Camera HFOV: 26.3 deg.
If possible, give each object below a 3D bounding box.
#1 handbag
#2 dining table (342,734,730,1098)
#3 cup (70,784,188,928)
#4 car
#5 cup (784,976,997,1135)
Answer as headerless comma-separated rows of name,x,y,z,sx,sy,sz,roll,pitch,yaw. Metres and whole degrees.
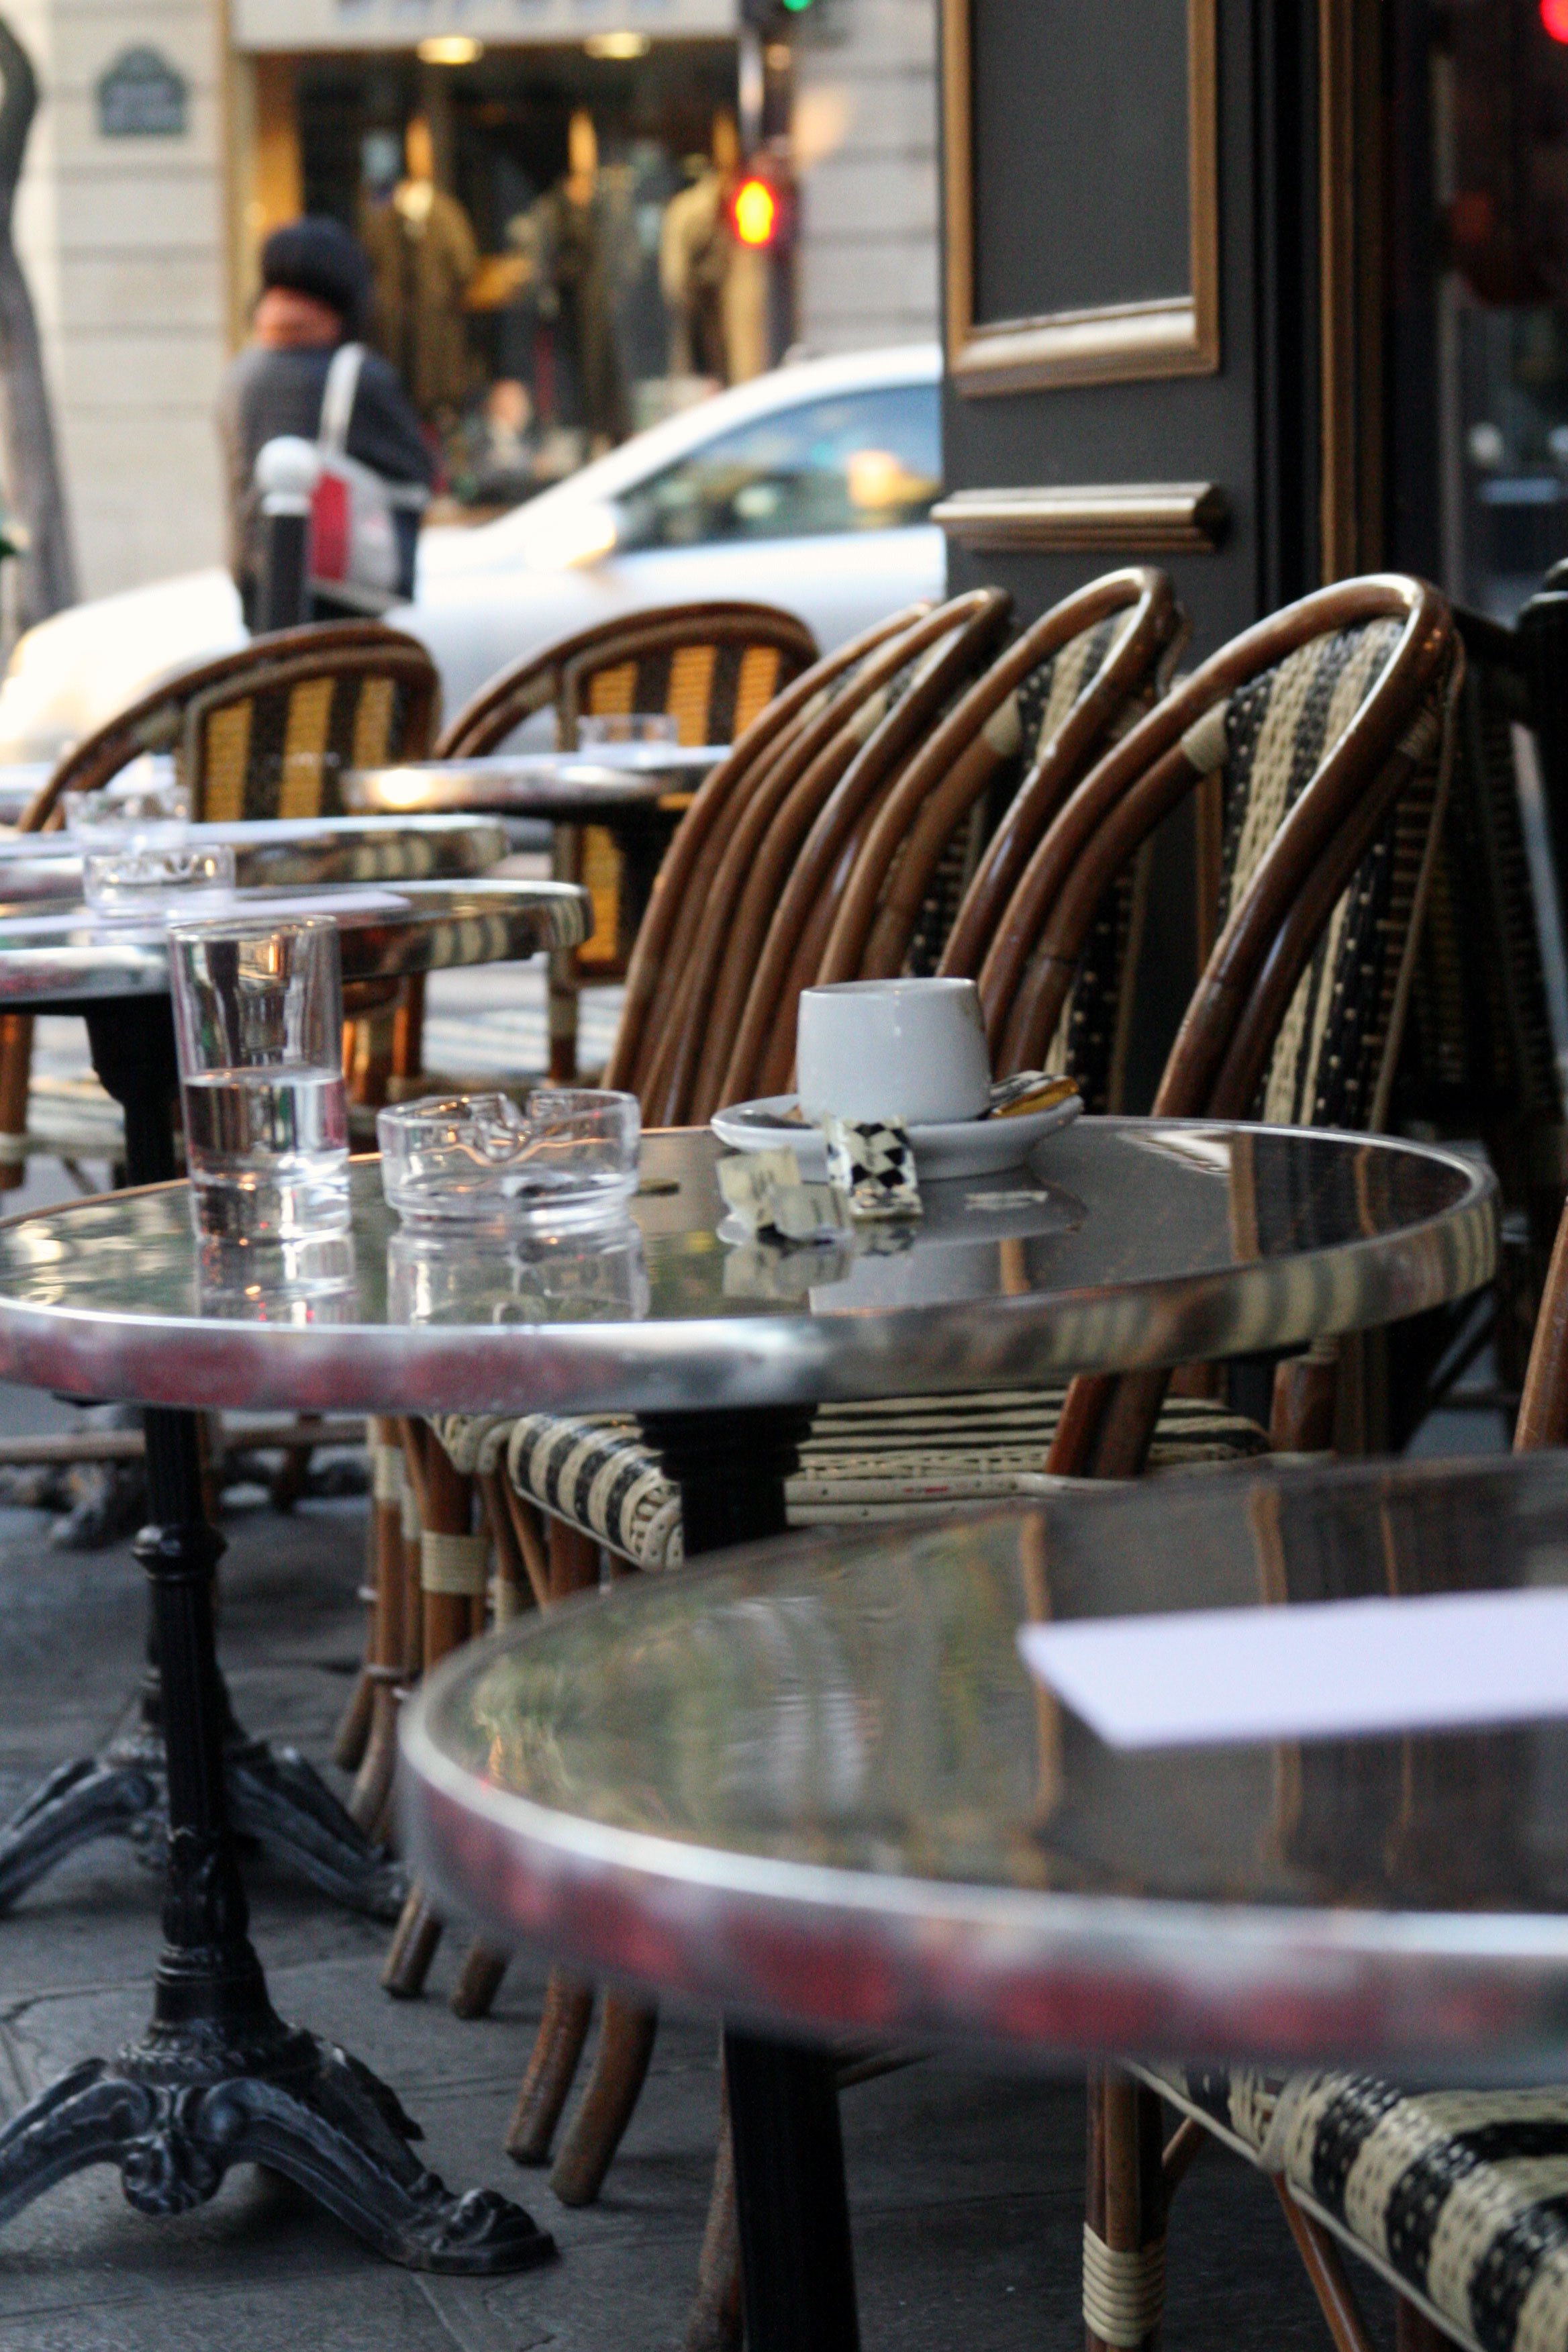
handbag,-0.682,-1.250,5.901,0.266,0.446,0.337,2,15,-16
dining table,-0.317,-0.357,4.206,0.487,0.345,0.488,-1,8,0
cup,-0.512,-0.266,2.661,0.096,0.107,0.095,-5,22,2
car,-0.358,-1.408,8.038,2.763,0.891,1.201,0,4,0
cup,0.050,-0.056,1.490,0.077,0.052,0.074,0,8,0
